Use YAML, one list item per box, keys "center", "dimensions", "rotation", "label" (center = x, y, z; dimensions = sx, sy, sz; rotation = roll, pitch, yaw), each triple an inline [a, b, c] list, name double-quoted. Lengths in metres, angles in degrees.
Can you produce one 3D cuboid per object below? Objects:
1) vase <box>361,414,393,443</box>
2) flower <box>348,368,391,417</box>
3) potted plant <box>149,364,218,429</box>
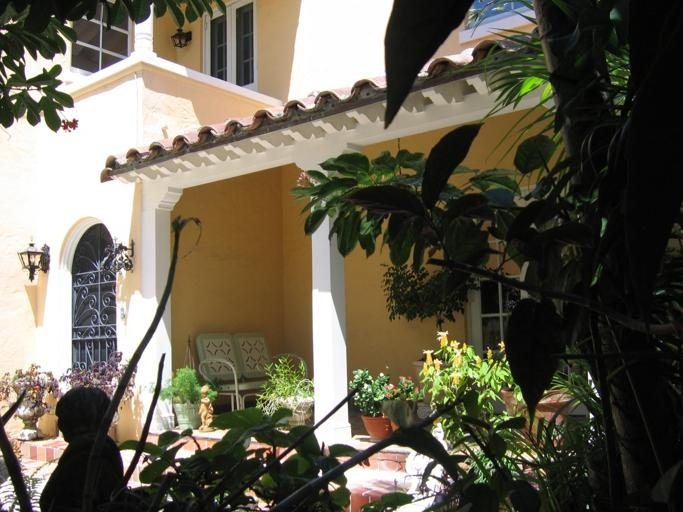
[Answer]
- center: [0.284, 1.327, 4.920]
  dimensions: [0.213, 0.214, 0.499]
  rotation: [-6, -22, 0]
  label: "vase"
- center: [0.245, 1.022, 4.891]
  dimensions: [0.282, 0.466, 0.809]
  rotation: [-7, -22, 3]
  label: "flower"
- center: [-1.558, 1.389, 6.161]
  dimensions: [0.437, 0.636, 0.461]
  rotation: [1, -22, -17]
  label: "potted plant"
